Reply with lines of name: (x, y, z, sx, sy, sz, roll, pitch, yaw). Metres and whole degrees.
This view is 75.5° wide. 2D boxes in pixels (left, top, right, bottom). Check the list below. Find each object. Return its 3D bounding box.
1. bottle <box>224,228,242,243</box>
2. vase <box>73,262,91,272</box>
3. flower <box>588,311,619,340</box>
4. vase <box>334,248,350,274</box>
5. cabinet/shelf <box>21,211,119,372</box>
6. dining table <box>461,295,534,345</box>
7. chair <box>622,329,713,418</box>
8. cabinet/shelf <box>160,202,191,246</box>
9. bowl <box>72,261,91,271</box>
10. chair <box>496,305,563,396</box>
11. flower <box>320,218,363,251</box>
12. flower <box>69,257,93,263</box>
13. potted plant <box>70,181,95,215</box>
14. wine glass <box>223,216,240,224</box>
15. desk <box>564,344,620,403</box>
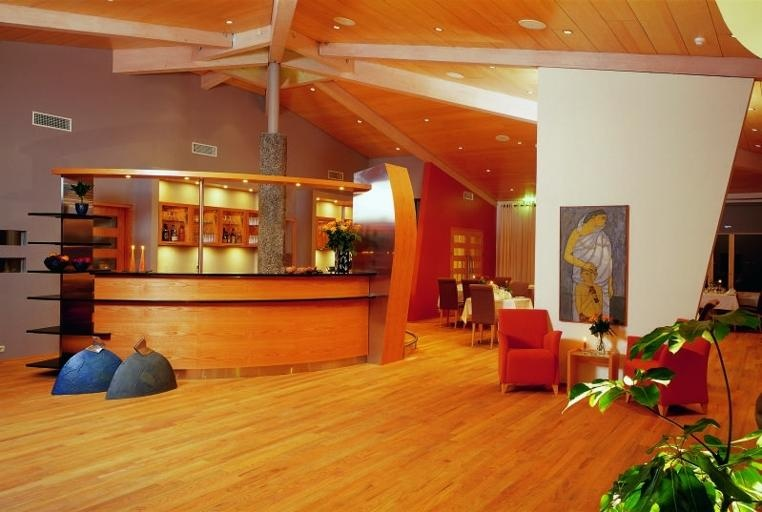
bottle: (-3.300, -0.446, 10.881, 0.072, 0.341, 0.432, -2, -3, 44)
vase: (-4.283, 0.156, 6.991, 0.162, 0.086, 0.158, 1, -1, -14)
flower: (3.016, 0.946, 6.646, 0.314, 0.306, 0.317, -2, -4, 32)
vase: (-0.628, 0.105, 7.943, 0.333, 0.529, 0.340, 0, -1, -3)
cabinet/shelf: (-4.633, 0.503, 7.291, 0.952, 2.374, 1.786, 1, -3, -37)
dining table: (2.084, 1.138, 8.818, 1.040, 0.467, 1.052, 0, 0, 35)
chair: (3.582, 1.468, 6.059, 1.006, 0.903, 0.602, 1, -2, -22)
cabinet/shelf: (-4.187, -0.657, 9.904, 0.296, 0.837, 0.913, -2, -3, 33)
bowl: (-4.322, 0.151, 7.044, 0.241, 0.148, 0.161, 1, -2, -14)
chair: (2.071, 1.314, 6.875, 0.802, 1.104, 0.587, 0, -2, 12)
flower: (-0.659, -0.348, 8.145, 0.581, 0.415, 0.564, -2, 2, -38)
flower: (-4.331, 0.049, 7.099, 0.175, 0.066, 0.172, 0, -1, 4)
potted plant: (-4.357, -0.832, 7.165, 0.216, 0.527, 0.118, 1, -2, -33)
wine glass: (-3.315, -0.802, 10.874, 0.083, 0.224, 0.390, -2, -3, 43)
desk: (2.881, 1.582, 6.679, 0.538, 0.486, 0.400, 2, -11, 28)
